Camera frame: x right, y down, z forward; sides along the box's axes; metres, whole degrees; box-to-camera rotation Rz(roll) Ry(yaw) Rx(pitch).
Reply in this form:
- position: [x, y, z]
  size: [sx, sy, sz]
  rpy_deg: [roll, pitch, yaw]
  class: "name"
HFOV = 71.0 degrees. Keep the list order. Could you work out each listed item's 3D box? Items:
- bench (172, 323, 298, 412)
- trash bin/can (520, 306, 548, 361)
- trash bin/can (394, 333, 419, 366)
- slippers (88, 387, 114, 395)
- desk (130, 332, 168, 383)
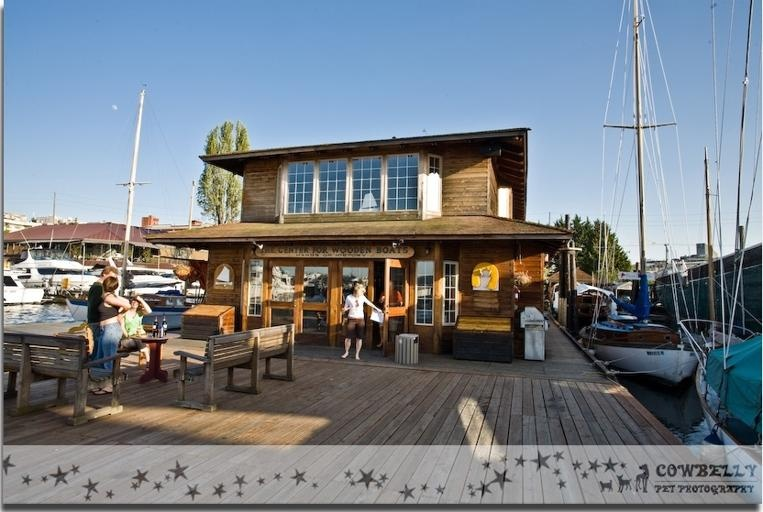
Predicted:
- position: [-3.132, 2.349, 11.670]
  size: [0.795, 1.447, 2.754]
  rpy_deg: [-1, 0, 32]
  class: "bench"
- position: [4.370, 2.312, 15.637]
  size: [0.709, 1.560, 0.560]
  rpy_deg: [-1, 0, 15]
  class: "trash bin/can"
- position: [0.666, 2.556, 14.695]
  size: [0.742, 0.818, 0.739]
  rpy_deg: [-1, -4, 25]
  class: "trash bin/can"
- position: [-5.926, 2.869, 11.427]
  size: [0.636, 0.164, 0.241]
  rpy_deg: [3, -5, -14]
  class: "slippers"
- position: [-5.297, 2.402, 12.628]
  size: [0.885, 0.988, 0.865]
  rpy_deg: [-1, -1, -9]
  class: "desk"
